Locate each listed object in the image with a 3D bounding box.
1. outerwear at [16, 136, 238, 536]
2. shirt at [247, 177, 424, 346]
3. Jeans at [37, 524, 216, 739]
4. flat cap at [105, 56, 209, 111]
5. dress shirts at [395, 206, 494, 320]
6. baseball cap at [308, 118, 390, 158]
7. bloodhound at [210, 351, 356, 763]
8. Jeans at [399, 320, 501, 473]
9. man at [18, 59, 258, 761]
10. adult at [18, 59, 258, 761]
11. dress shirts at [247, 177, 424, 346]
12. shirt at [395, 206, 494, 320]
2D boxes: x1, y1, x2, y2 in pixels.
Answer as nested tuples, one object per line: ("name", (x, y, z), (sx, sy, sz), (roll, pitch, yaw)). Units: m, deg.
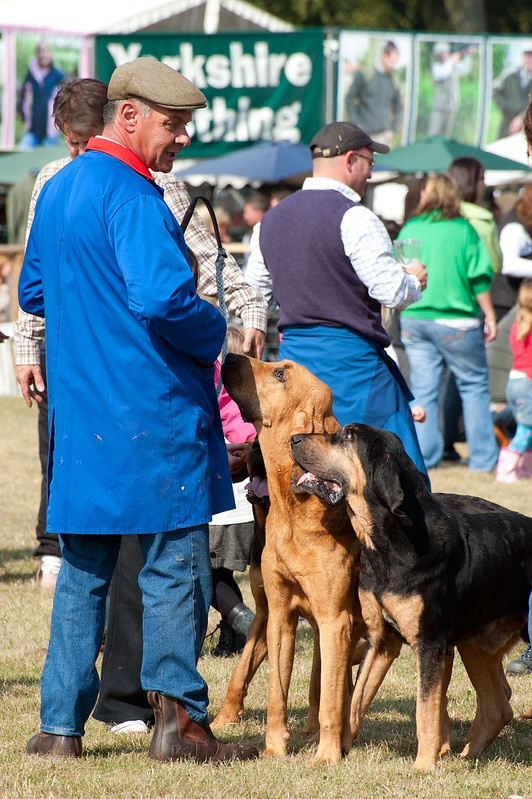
("outerwear", (-0.475, -0.214, 4.851), (0.711, 1.302, 0.502), (2, 9, 5))
("shirt", (0.212, -0.551, 5.786), (0.774, 0.817, 0.423), (3, 15, 34))
("Jeans", (-0.488, 0.759, 4.914), (0.555, 0.284, 0.920), (-8, 56, 4))
("flat cap", (-0.369, -1.038, 4.780), (0.226, 0.123, 0.192), (6, 14, 15))
("dress shirts", (1.245, -0.919, 10.098), (0.670, 0.806, 0.426), (-2, 2, 18))
("baseball cap", (0.316, -1.023, 5.700), (0.221, 0.116, 0.155), (-7, 9, -18))
("bloodhound", (0.158, 0.573, 5.158), (0.392, 1.395, 0.966), (3, 3, 27))
("Jeans", (1.293, -0.008, 10.383), (0.578, 0.470, 1.578), (-3, 40, 3))
("man", (-0.512, 0.041, 5.032), (0.751, 2.398, 0.727), (4, 11, 21))
("adult", (-0.486, 0.043, 5.048), (0.716, 2.387, 0.681), (6, 12, 28))
("dress shirts", (0.218, -0.537, 5.779), (0.735, 0.783, 0.425), (1, 12, 30))
("shirt", (1.159, -0.854, 9.210), (0.740, 0.864, 0.467), (6, 17, 25))
